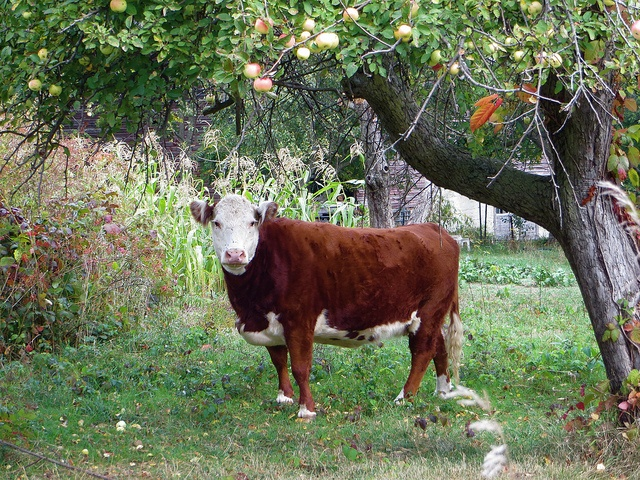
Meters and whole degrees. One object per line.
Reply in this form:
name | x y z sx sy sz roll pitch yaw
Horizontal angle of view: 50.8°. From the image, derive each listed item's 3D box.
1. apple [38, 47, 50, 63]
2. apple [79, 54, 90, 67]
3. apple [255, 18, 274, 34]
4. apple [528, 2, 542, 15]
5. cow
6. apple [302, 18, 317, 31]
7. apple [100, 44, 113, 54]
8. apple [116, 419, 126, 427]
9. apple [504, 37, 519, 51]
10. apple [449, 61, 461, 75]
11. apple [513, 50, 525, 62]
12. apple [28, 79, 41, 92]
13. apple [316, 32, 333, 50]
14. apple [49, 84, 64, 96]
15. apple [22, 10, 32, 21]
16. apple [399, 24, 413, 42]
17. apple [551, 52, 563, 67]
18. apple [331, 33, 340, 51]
apple | -1.800 -1.203 4.369 0.063 0.081 0.063 -23 49 -38
apple | -1.621 -1.237 4.648 0.060 0.057 0.054 19 -7 45
apple | -0.327 -1.231 3.867 0.117 0.107 0.073 -1 -2 23
apple | 1.352 -1.463 4.254 0.080 0.084 0.112 -1 -3 22
cow | 0.157 0.622 6.165 2.466 1.892 0.964 0 2 -20
apple | -0.067 -1.267 3.986 0.071 0.097 0.076 1 -4 2
apple | -1.362 -1.219 4.291 0.063 0.050 0.048 -37 -3 41
apple | -1.619 1.483 5.447 0.051 0.059 0.031 -2 7 18
apple | 1.205 -1.241 4.258 0.059 0.065 0.063 24 42 11
apple | 0.857 -1.108 4.322 0.064 0.108 0.132 0 -2 11
apple | 1.246 -1.156 4.232 0.057 0.074 0.063 -2 -34 20
apple | -1.868 -1.012 4.401 0.080 0.084 0.151 1 -3 -23
apple | 0.022 -1.124 3.861 0.081 0.084 0.086 -15 2 37
apple | -1.785 -0.996 4.561 0.066 0.087 0.072 1 -29 -9
apple | -1.907 -1.461 4.374 0.046 0.050 0.055 25 -25 -21
apple | 0.507 -1.244 4.046 0.083 0.082 0.202 0 -3 7
apple | 1.419 -1.094 4.079 0.066 0.082 0.202 -1 -3 19
apple | 0.078 -1.156 3.893 0.043 0.116 0.127 0 -2 6
